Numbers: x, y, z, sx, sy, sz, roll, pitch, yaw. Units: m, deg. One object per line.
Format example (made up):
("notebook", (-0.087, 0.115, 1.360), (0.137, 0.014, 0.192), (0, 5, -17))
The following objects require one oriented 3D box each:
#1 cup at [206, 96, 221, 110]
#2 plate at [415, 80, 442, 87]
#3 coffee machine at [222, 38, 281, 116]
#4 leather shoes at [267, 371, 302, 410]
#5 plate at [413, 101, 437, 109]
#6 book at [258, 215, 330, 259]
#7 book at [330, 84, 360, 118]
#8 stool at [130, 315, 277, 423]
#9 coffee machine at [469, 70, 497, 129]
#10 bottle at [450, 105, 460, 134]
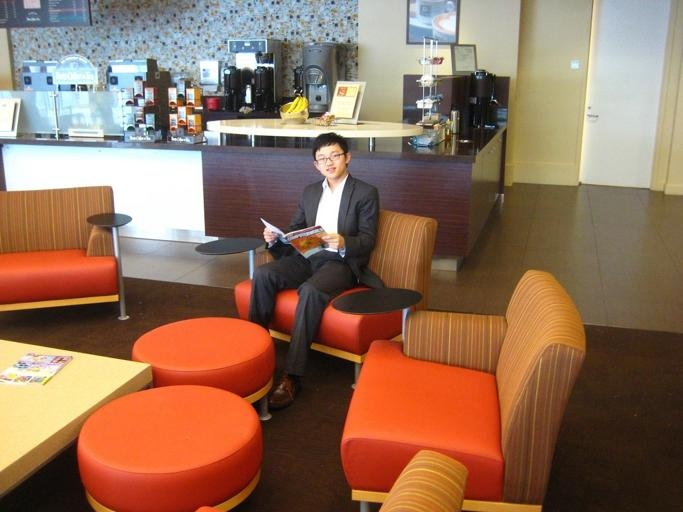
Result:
("cup", (-1.918, -2.257, 7.954), (0.241, 0.182, 0.244), (1, 18, 0))
("plate", (0.813, -1.552, 4.837), (0.237, 0.078, 0.255), (3, 14, 17))
("coffee machine", (-1.234, -2.632, 7.766), (0.755, 1.024, 0.567), (-3, 16, -9))
("leather shoes", (-0.307, 0.736, 2.885), (0.086, 0.100, 0.234), (10, 14, 16))
("plate", (0.723, -1.360, 4.770), (0.175, 0.062, 0.143), (7, 13, 35))
("book", (-0.219, -0.111, 3.042), (0.173, 0.208, 0.492), (-7, 2, 36))
("book", (0.034, -1.381, 4.714), (0.256, 0.325, 0.235), (2, 16, 11))
("stool", (-0.698, 0.481, 2.658), (0.542, 0.295, 0.554), (11, 17, 27))
("coffee machine", (1.875, -2.016, 6.838), (0.306, 0.683, 0.845), (8, 18, 29))
("bottle", (1.170, -1.389, 5.518), (0.085, 0.258, 0.365), (2, 16, 11))
